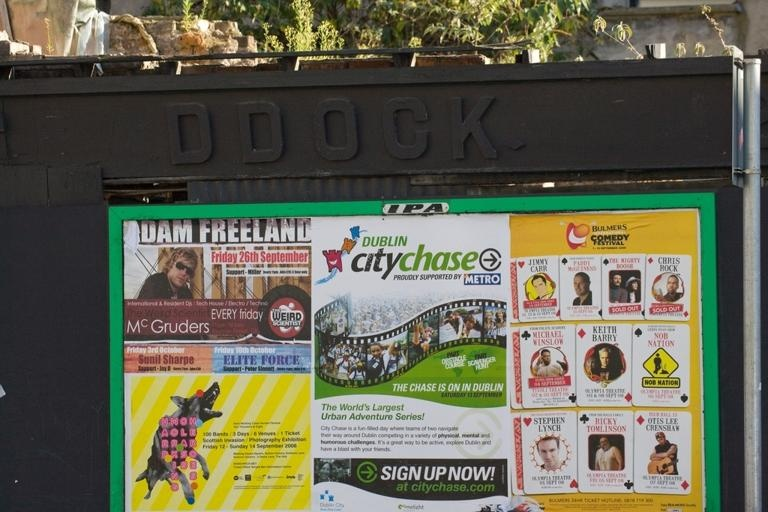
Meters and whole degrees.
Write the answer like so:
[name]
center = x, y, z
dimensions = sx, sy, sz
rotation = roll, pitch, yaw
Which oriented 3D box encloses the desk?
[desk]
center = -0.751, -2.135, 24.855
dimensions = 6.857, 0.320, 0.739
rotation = -1, 11, 3
